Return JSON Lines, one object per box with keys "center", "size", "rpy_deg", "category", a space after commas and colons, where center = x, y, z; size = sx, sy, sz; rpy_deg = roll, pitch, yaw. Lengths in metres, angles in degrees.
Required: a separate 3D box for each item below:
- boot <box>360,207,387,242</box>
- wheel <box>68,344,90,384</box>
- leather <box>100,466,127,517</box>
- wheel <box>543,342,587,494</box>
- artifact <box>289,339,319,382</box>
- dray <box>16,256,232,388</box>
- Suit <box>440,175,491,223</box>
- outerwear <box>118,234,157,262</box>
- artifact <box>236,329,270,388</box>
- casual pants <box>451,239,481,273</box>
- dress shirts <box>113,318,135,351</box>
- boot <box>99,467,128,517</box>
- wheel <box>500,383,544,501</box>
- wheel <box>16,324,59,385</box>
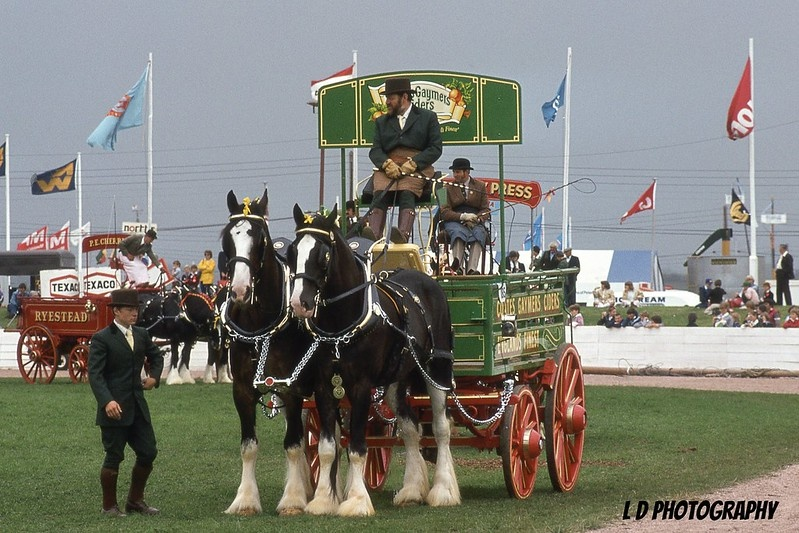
{"center": [-0.429, -0.724, 30.917], "size": [0.270, 0.657, 0.792], "rpy_deg": [4, 35, 14], "category": "boot"}
{"center": [-7.438, 2.260, 39.920], "size": [0.424, 0.941, 1.160], "rpy_deg": [2, 1, -12], "category": "wheel"}
{"center": [-4.820, 3.762, 28.970], "size": [0.379, 0.802, 0.587], "rpy_deg": [2, 1, -10], "category": "leather"}
{"center": [2.935, 2.773, 30.907], "size": [0.687, 2.477, 2.424], "rpy_deg": [-1, -3, 23], "category": "wheel"}
{"center": [-1.618, 1.636, 29.110], "size": [0.151, 0.773, 0.113], "rpy_deg": [27, -16, 37], "category": "artifact"}
{"center": [-7.468, 1.510, 40.689], "size": [3.894, 2.156, 2.460], "rpy_deg": [1, -1, 17], "category": "dray"}
{"center": [1.207, -1.190, 32.152], "size": [1.070, 1.212, 0.757], "rpy_deg": [0, -3, -5], "category": "Suit"}
{"center": [-6.023, -0.407, 39.919], "size": [0.870, 0.768, 0.702], "rpy_deg": [2, 1, -8], "category": "outerwear"}
{"center": [-2.380, 1.623, 28.940], "size": [0.431, 0.929, 0.411], "rpy_deg": [2, 1, -1], "category": "artifact"}
{"center": [1.252, -0.137, 31.586], "size": [0.466, 0.612, 0.782], "rpy_deg": [2, 15, 8], "category": "casual pants"}
{"center": [-4.576, 1.168, 28.907], "size": [0.333, 0.484, 0.121], "rpy_deg": [-4, 6, -8], "category": "dress shirts"}
{"center": [-4.820, 3.762, 28.974], "size": [0.379, 0.802, 0.595], "rpy_deg": [2, 1, -10], "category": "boot"}
{"center": [2.097, 3.060, 29.983], "size": [0.563, 1.768, 1.728], "rpy_deg": [-4, 5, 27], "category": "wheel"}
{"center": [-8.426, 2.076, 40.315], "size": [1.331, 1.384, 0.359], "rpy_deg": [0, 0, 40], "category": "wheel"}
